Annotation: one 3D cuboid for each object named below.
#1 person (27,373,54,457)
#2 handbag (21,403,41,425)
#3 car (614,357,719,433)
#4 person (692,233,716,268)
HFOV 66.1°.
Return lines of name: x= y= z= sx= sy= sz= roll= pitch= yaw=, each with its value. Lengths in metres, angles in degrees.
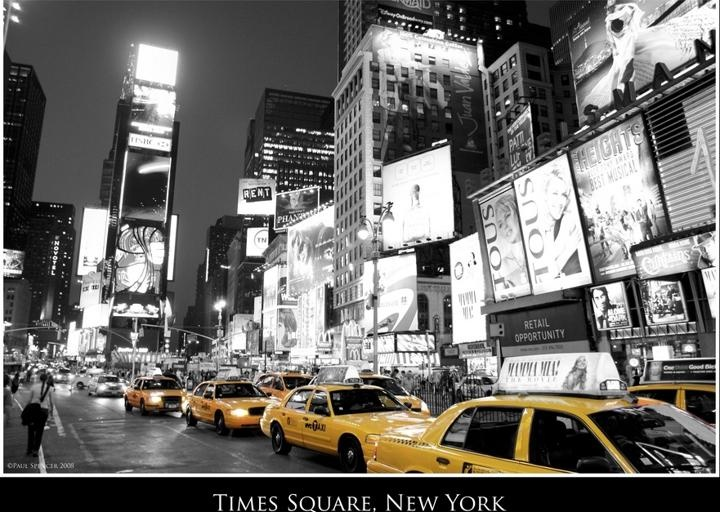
person: x=-8.269 y=4.051 z=14.292 sx=0.493 sy=2.059 sz=1.251 roll=7 pitch=-14 yaw=-29
handbag: x=-8.204 y=3.986 z=13.823 sx=0.376 sy=0.571 sz=0.133 roll=1 pitch=-13 yaw=13
car: x=6.850 y=3.004 z=12.301 sx=1.507 sy=1.218 sz=2.521 roll=7 pitch=-18 yaw=-21
person: x=13.095 y=-0.173 z=20.807 sx=0.412 sy=1.222 sz=1.088 roll=1 pitch=-12 yaw=-2
